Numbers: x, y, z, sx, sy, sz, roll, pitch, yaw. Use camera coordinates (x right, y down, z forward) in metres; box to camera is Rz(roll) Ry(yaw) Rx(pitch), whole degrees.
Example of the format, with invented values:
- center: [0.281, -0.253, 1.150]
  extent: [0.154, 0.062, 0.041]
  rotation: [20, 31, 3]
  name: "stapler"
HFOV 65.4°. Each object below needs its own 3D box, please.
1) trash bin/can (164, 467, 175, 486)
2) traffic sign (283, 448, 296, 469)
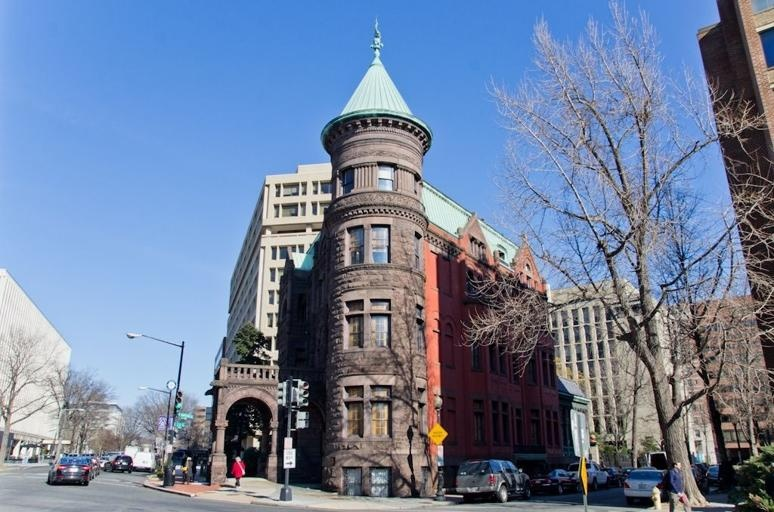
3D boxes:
- center: [-15.195, 15.334, 41.802]
  extent: [0.593, 1.334, 0.915]
  rotation: [6, -24, -12]
  name: "trash bin/can"
- center: [-5.758, 11.924, 35.314]
  extent: [0.534, 1.118, 0.809]
  rotation: [1, -24, -1]
  name: "traffic sign"
